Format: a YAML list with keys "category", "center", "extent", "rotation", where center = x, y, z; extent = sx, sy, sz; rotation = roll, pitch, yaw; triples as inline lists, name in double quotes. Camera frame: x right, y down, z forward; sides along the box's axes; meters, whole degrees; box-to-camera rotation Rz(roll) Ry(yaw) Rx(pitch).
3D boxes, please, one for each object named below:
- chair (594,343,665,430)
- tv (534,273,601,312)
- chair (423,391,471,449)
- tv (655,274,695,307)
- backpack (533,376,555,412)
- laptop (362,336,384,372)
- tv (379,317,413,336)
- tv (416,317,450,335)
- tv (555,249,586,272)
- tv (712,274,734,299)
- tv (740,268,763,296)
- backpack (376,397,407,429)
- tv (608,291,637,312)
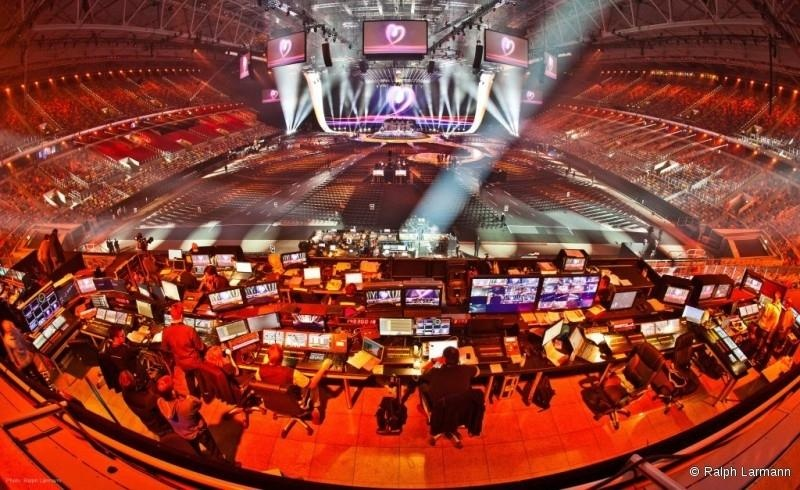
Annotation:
- category: "chair"
  center: [6.210, 3.767, 11.490]
  extent: [1.514, 2.024, 1.492]
  rotation: [-17, 26, -40]
- category: "tv"
  center: [4.665, 1.309, 11.890]
  extent: [1.433, 0.783, 0.160]
  rotation: [0, 22, -5]
- category: "chair"
  center: [1.156, 4.431, 10.840]
  extent: [1.046, 1.318, 1.327]
  rotation: [5, -20, 4]
- category: "tv"
  center: [8.008, 1.405, 12.368]
  extent: [0.900, 0.671, 0.477]
  rotation: [13, 9, 0]
- category: "backpack"
  center: [4.037, 4.146, 11.799]
  extent: [0.779, 0.771, 0.310]
  rotation: [6, -2, 11]
- category: "laptop"
  center: [-0.998, 2.935, 11.505]
  extent: [0.806, 0.450, 0.606]
  rotation: [20, 25, 39]
- category: "tv"
  center: [-0.134, 2.226, 11.655]
  extent: [1.134, 0.463, 0.240]
  rotation: [2, 3, 3]
- category: "tv"
  center: [0.868, 2.214, 11.663]
  extent: [1.142, 0.459, 0.248]
  rotation: [2, 3, 0]
- category: "tv"
  center: [4.797, 0.399, 12.103]
  extent: [0.970, 0.752, 0.641]
  rotation: [3, 9, -3]
- category: "tv"
  center: [9.478, 1.224, 12.326]
  extent: [0.675, 0.533, 0.438]
  rotation: [9, 23, -5]
- category: "tv"
  center: [10.666, 1.146, 12.713]
  extent: [0.890, 0.629, 0.427]
  rotation: [5, 6, -4]
- category: "backpack"
  center: [-0.223, 4.634, 11.495]
  extent: [0.872, 0.938, 0.352]
  rotation: [11, -22, -14]
- category: "tv"
  center: [6.344, 1.588, 12.043]
  extent: [0.669, 0.463, 0.307]
  rotation: [-1, 24, -2]
